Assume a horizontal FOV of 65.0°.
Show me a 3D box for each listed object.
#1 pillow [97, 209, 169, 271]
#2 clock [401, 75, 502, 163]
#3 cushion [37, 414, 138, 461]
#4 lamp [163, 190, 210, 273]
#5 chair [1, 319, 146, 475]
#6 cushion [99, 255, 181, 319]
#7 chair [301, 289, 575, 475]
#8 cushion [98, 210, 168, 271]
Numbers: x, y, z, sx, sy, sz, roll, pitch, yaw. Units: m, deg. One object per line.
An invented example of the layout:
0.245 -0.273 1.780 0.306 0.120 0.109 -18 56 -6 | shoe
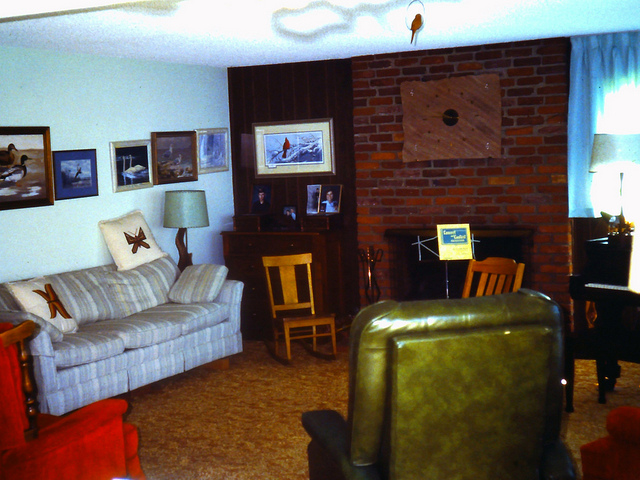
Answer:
-1.830 0.005 4.908 0.171 0.537 0.580 -30 -2 39 | pillow
1.413 -1.303 5.289 1.065 0.839 0.121 0 6 17 | clock
-1.270 1.073 2.727 0.379 0.094 0.360 4 0 -1 | cushion
-1.478 -0.074 5.472 0.491 0.955 0.438 1 16 -13 | lamp
-1.410 0.912 2.675 0.557 0.927 0.538 -3 9 4 | chair
-1.717 0.438 4.792 0.208 0.460 0.759 -26 -4 38 | cushion
0.411 0.555 2.141 0.814 0.936 0.744 -2 12 -8 | chair
-1.841 0.014 4.897 0.169 0.525 0.568 -21 5 35 | cushion
